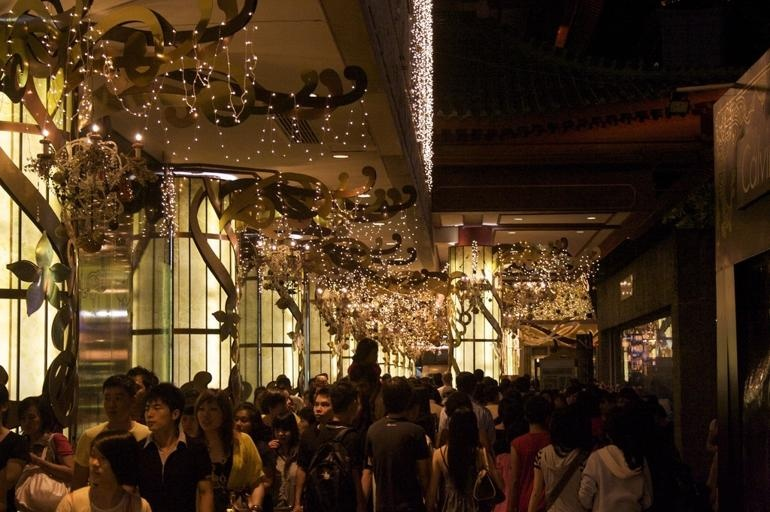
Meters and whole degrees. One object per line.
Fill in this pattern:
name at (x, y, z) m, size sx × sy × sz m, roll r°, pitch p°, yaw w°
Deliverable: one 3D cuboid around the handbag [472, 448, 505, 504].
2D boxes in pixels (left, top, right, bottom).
handbag at (0.929, 1.997, 7.339) m, size 0.204 × 0.462 × 0.477 m, roll -10°, pitch -21°, yaw 14°
